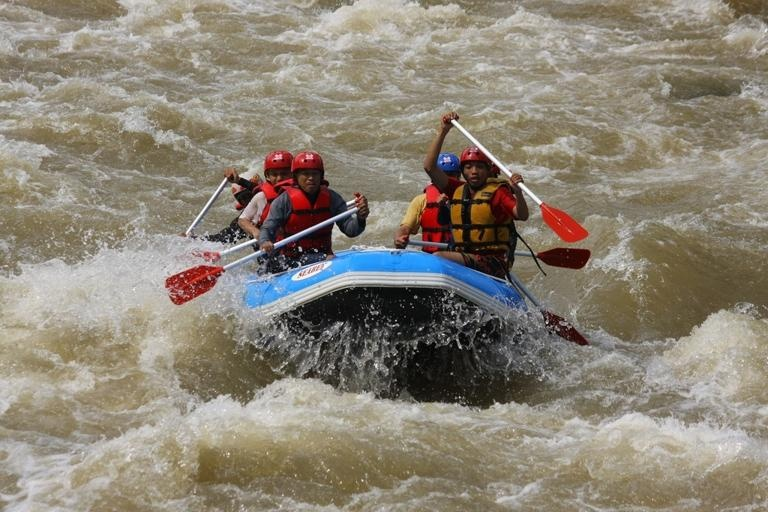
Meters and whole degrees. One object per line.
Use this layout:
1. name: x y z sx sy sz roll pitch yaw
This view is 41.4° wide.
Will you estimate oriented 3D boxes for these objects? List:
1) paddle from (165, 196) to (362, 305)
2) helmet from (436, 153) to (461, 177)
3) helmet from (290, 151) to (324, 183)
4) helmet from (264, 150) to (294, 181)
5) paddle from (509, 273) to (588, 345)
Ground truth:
1. paddle: -1.747 -0.030 15.192 3.947 0.431 0.524 -20 79 -9
2. helmet: 1.009 -1.393 15.531 0.323 0.303 0.395 3 23 -6
3. helmet: -1.138 -1.357 15.153 0.395 0.352 0.483 1 12 -13
4. helmet: -1.686 -1.397 15.692 0.429 0.488 0.435 2 58 -11
5. paddle: 2.550 0.862 15.695 1.467 0.209 0.106 41 42 12
